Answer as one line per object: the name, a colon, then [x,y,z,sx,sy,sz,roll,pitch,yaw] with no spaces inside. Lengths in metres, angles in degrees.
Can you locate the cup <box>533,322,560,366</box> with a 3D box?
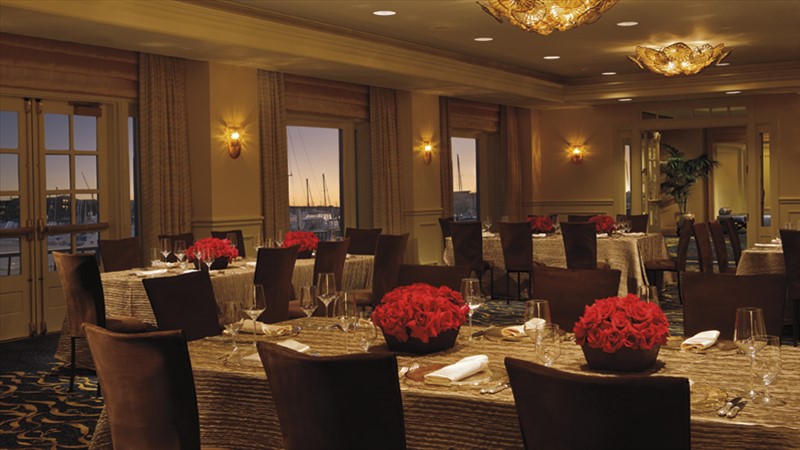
cup: [0.817,0.668,2.957,0.132,0.282,0.262,-1,3,14]

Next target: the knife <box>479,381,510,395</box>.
knife: [0.499,0.867,2.812,0.202,0.029,0.057,-12,33,-41]

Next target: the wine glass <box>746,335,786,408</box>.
wine glass: [1.882,0.714,2.737,0.150,0.326,0.303,1,3,33]

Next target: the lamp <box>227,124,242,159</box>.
lamp: [-2.614,-1.311,8.430,0.092,0.500,0.266,1,3,32]

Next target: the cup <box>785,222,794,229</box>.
cup: [5.540,0.001,7.577,0.099,0.094,0.179,9,-3,18]
